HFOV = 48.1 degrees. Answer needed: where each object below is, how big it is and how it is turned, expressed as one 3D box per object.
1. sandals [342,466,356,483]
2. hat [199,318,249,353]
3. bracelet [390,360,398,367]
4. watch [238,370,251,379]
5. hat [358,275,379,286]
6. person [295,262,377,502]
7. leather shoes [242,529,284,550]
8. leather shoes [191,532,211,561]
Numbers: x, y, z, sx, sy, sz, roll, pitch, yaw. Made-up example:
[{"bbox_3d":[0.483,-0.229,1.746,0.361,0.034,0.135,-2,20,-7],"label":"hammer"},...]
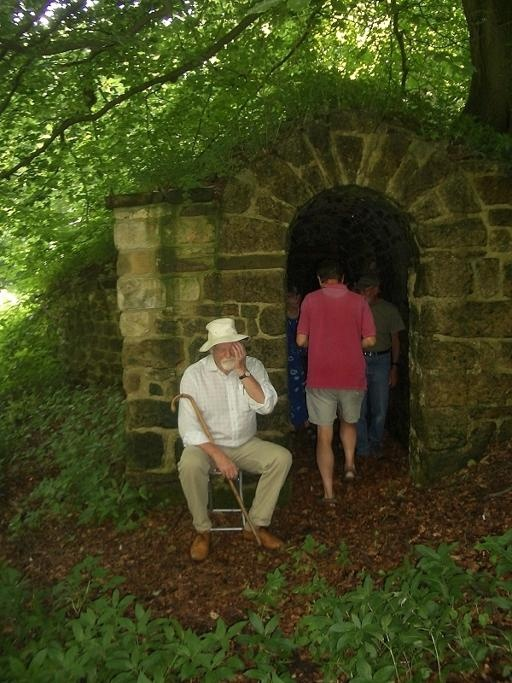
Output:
[{"bbox_3d":[0.724,1.037,4.455,0.123,0.080,0.218,-2,-4,7],"label":"sandals"},{"bbox_3d":[-0.214,0.001,3.629,0.262,0.127,0.248,-18,-5,-31],"label":"hat"},{"bbox_3d":[1.231,0.204,5.121,0.051,0.047,0.048,-1,7,13],"label":"bracelet"},{"bbox_3d":[-0.072,0.209,3.539,0.054,0.047,0.052,-14,11,-13],"label":"watch"},{"bbox_3d":[0.986,-0.526,5.019,0.198,0.073,0.251,6,14,21],"label":"hat"},{"bbox_3d":[0.570,0.295,4.097,0.545,1.683,0.228,-1,4,7],"label":"person"},{"bbox_3d":[0.064,1.236,3.641,0.286,0.110,0.100,4,27,28],"label":"leather shoes"},{"bbox_3d":[-0.348,1.273,3.545,0.096,0.067,0.181,-2,28,2],"label":"leather shoes"}]
